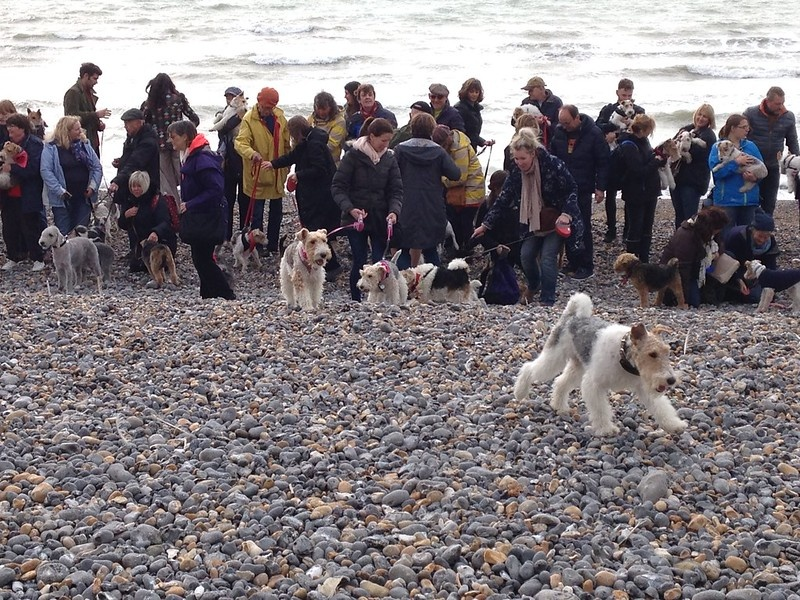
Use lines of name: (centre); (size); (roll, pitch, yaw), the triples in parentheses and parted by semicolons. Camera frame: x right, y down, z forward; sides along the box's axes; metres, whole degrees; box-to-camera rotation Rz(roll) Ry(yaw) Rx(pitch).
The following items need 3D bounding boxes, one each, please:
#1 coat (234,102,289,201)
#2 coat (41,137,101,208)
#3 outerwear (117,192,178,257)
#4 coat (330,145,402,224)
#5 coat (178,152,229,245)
coat: (-2.387, -2.525, 17.697); (1.144, 1.544, 0.886); (-15, 43, -20)
coat: (-5.670, -2.150, 17.622); (0.635, 1.123, 0.960); (9, 18, 38)
outerwear: (-4.347, -1.306, 17.851); (0.779, 1.213, 0.735); (6, 38, 10)
coat: (-0.524, -1.612, 15.633); (1.351, 1.545, 1.015); (-1, 3, -13)
coat: (-2.956, -1.534, 15.448); (0.762, 1.532, 1.158); (3, 2, -18)
